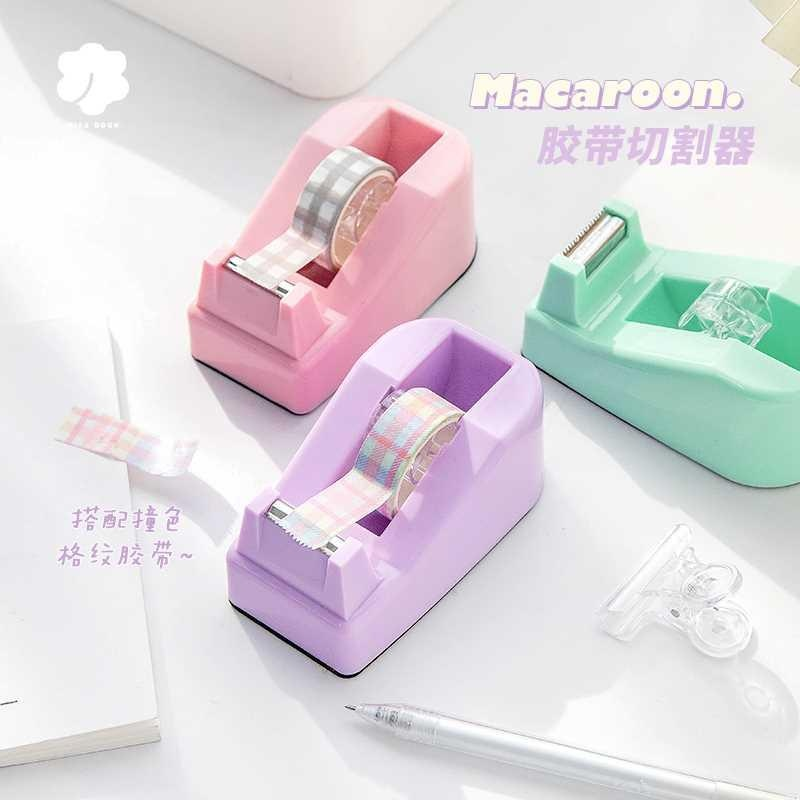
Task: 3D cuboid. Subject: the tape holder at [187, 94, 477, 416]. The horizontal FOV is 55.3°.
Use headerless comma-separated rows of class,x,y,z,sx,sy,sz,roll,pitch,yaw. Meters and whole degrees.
tape holder,-0.068,-0.237,1.509,0.368,0.315,0.676,26,63,19
